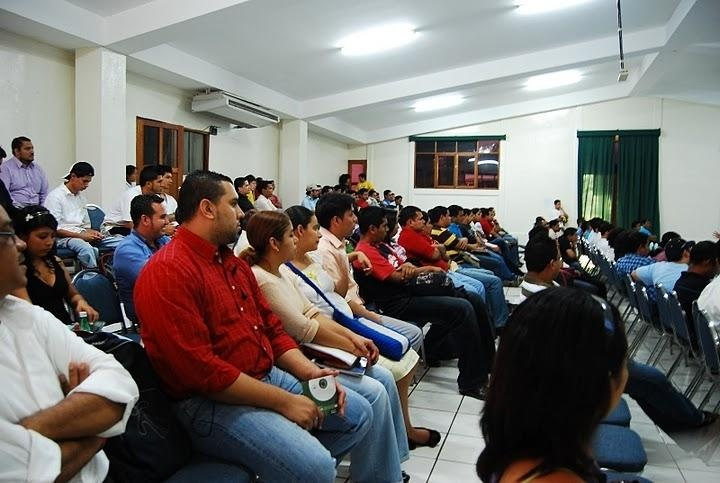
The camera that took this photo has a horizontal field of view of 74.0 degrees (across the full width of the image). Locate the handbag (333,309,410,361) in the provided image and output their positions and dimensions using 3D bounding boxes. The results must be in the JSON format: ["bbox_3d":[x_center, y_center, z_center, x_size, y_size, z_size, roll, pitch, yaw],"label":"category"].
[{"bbox_3d":[0.074,0.554,2.935,0.381,0.313,0.399,7,9,23],"label":"handbag"}]

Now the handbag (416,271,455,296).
[{"bbox_3d":[0.595,0.336,3.871,0.232,0.096,0.186,-2,3,4],"label":"handbag"}]

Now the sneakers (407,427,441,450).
[{"bbox_3d":[0.406,1.258,3.036,0.202,0.057,0.101,-6,6,-27],"label":"sneakers"}]
